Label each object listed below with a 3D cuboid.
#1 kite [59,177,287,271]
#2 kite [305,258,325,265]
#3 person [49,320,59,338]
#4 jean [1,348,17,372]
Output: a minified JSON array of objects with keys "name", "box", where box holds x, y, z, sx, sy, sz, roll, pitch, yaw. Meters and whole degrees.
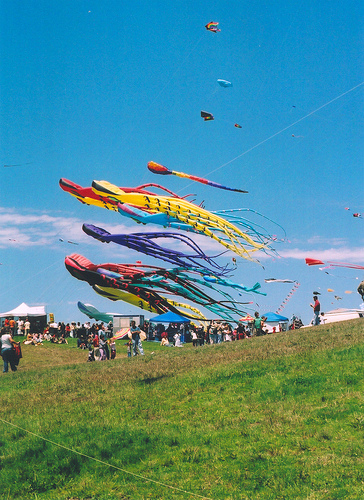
[{"name":"kite","box":[-0.947,-1.418,25.680,7.182,1.358,3.135,16,7,33]},{"name":"kite","box":[3.164,0.258,18.461,0.411,0.153,0.164,-3,-11,14]},{"name":"person","box":[-7.630,4.610,46.679,0.767,0.733,0.740,1,-6,-10]},{"name":"jean","box":[-5.629,3.520,25.044,0.426,0.834,1.015,-1,-3,-13]}]
